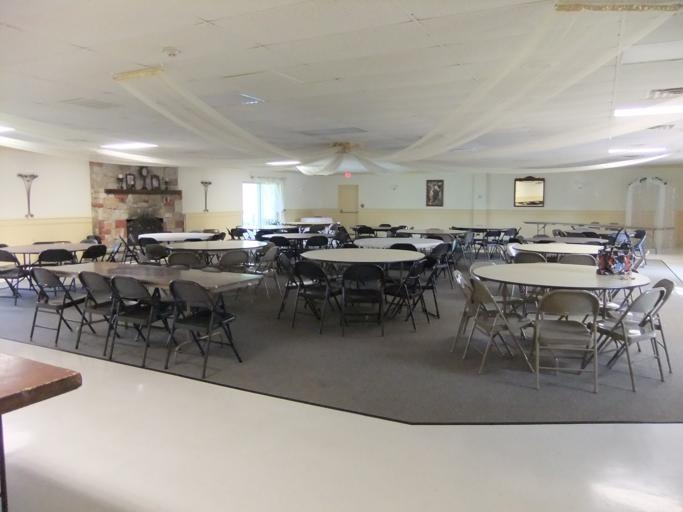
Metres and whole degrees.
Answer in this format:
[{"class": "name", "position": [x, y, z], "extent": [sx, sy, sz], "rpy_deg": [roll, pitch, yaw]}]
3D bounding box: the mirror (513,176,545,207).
[{"class": "mirror", "position": [5.927, -2.039, 14.977], "extent": [1.190, 1.103, 0.118], "rpy_deg": [2, 2, 20]}]

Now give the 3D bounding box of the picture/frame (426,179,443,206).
[{"class": "picture/frame", "position": [3.156, -2.127, 16.116], "extent": [0.600, 0.911, 0.303], "rpy_deg": [2, 16, 11]}]

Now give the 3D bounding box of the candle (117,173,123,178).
[{"class": "candle", "position": [-5.558, -2.020, 11.978], "extent": [0.165, 0.132, 0.089], "rpy_deg": [-1, 0, -38]}]

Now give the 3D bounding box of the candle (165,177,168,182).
[{"class": "candle", "position": [-4.735, -2.081, 13.009], "extent": [0.022, 0.093, 0.123], "rpy_deg": [10, 17, 34]}]

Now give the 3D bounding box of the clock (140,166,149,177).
[{"class": "clock", "position": [-5.149, -2.212, 12.470], "extent": [0.067, 0.218, 0.264], "rpy_deg": [2, -9, 33]}]
